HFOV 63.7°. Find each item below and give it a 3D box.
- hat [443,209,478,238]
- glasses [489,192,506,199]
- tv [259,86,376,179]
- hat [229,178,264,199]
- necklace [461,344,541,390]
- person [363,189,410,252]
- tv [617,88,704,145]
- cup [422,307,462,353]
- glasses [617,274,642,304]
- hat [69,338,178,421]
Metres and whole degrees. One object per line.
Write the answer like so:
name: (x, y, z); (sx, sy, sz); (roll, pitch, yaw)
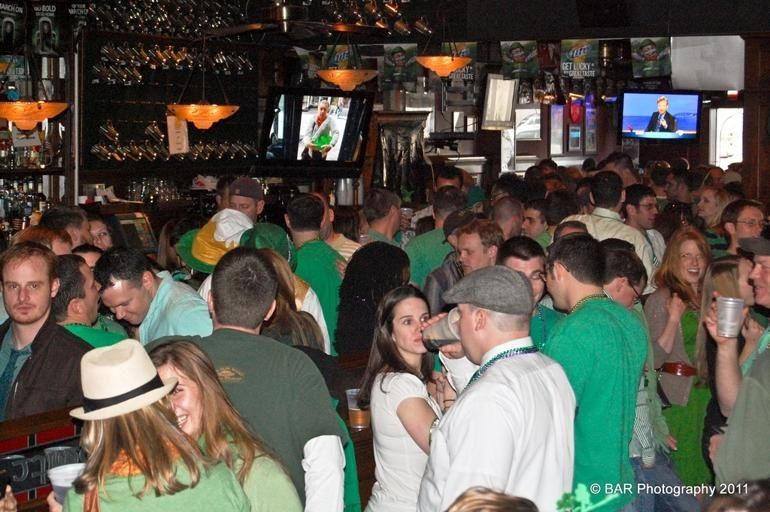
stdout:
hat: (0.598, -0.257, 4.940); (0.330, 0.143, 0.208); (-20, 6, 38)
glasses: (1.235, -0.664, 6.803); (0.184, 0.051, 0.172); (10, 2, 1)
tv: (-0.976, -1.725, 8.716); (1.582, 1.201, 0.465); (-1, 2, -10)
hat: (-1.168, -0.566, 5.321); (0.179, 0.133, 0.250); (6, 2, 22)
necklace: (0.484, 0.450, 2.587); (0.386, 0.146, 0.109); (-2, 2, -29)
person: (-0.016, -0.344, 5.595); (0.485, 0.716, 0.489); (0, 12, 1)
tv: (5.511, -2.848, 12.415); (1.784, 1.053, 0.180); (3, 12, 15)
cup: (0.299, 0.340, 2.888); (0.154, 0.216, 0.293); (-2, 2, -26)
glasses: (1.403, 0.212, 3.582); (0.055, 0.174, 0.171); (-22, -15, 5)
hat: (-0.902, 0.429, 2.111); (0.312, 0.146, 0.259); (-11, 10, 38)
